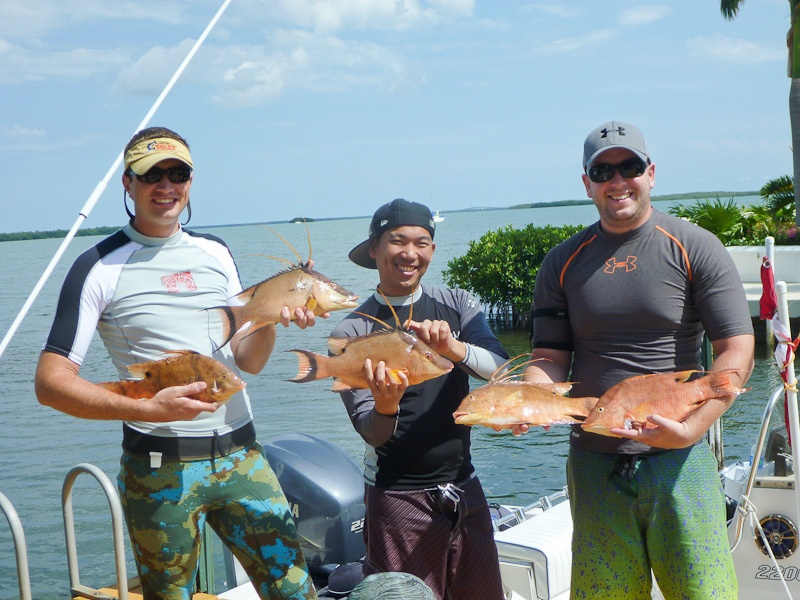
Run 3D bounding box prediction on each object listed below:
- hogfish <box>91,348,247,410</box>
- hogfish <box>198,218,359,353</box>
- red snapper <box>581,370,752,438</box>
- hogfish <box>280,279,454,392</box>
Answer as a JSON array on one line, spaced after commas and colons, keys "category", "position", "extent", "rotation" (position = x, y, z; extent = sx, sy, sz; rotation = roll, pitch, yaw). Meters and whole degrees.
[{"category": "hogfish", "position": [-1.198, 0.444, 3.851], "extent": [0.800, 0.327, 0.134], "rotation": [-6, 22, 2]}, {"category": "hogfish", "position": [-0.642, -0.044, 3.966], "extent": [0.875, 0.549, 0.237], "rotation": [-17, -10, 6]}, {"category": "red snapper", "position": [1.342, 0.520, 3.740], "extent": [0.812, 0.301, 0.176], "rotation": [-15, -3, 3]}, {"category": "hogfish", "position": [-0.145, 0.325, 3.946], "extent": [0.838, 0.369, 0.297], "rotation": [-4, 0, -2]}]
